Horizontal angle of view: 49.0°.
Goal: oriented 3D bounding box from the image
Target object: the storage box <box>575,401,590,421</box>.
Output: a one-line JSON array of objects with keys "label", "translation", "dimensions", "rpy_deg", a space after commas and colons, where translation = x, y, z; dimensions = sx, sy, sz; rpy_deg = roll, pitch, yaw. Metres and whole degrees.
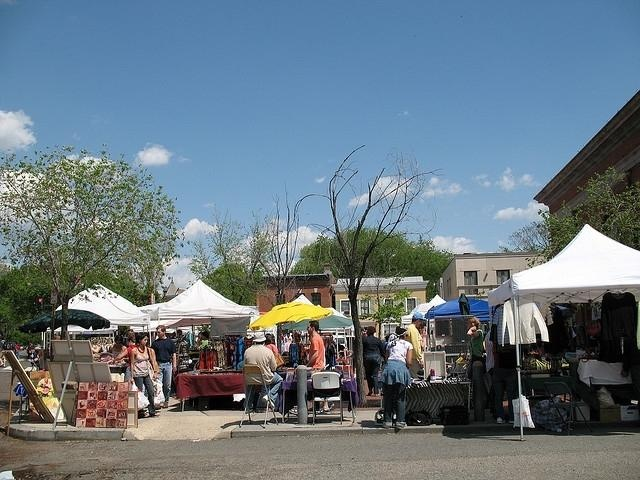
[{"label": "storage box", "translation": [6.198, 4.000, 16.545], "dimensions": [0.447, 0.518, 0.356], "rpy_deg": [-1, -8, 1]}]

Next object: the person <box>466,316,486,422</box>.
[{"label": "person", "translation": [3.950, 3.197, 17.515], "dimensions": [0.390, 2.534, 0.489], "rpy_deg": [-5, -10, 13]}]

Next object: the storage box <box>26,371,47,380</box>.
[{"label": "storage box", "translation": [-7.691, 3.662, 19.129], "dimensions": [0.500, 0.217, 0.260], "rpy_deg": [-6, -11, 14]}]

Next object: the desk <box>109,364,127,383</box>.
[{"label": "desk", "translation": [-5.373, 3.499, 18.675], "dimensions": [0.447, 0.512, 0.483], "rpy_deg": [0, -10, -8]}]

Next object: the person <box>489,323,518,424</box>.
[{"label": "person", "translation": [4.481, 3.202, 17.171], "dimensions": [0.536, 2.379, 0.821], "rpy_deg": [-1, -10, -5]}]

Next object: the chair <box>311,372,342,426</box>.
[{"label": "chair", "translation": [0.187, 3.806, 17.528], "dimensions": [0.857, 1.477, 1.127], "rpy_deg": [-1, 5, -15]}]

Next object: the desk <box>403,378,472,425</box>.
[{"label": "desk", "translation": [2.903, 4.029, 17.677], "dimensions": [1.513, 1.007, 0.825], "rpy_deg": [-1, -8, 3]}]

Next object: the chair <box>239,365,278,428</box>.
[{"label": "chair", "translation": [-1.661, 4.026, 18.323], "dimensions": [0.884, 1.527, 2.172], "rpy_deg": [-1, -11, -6]}]
